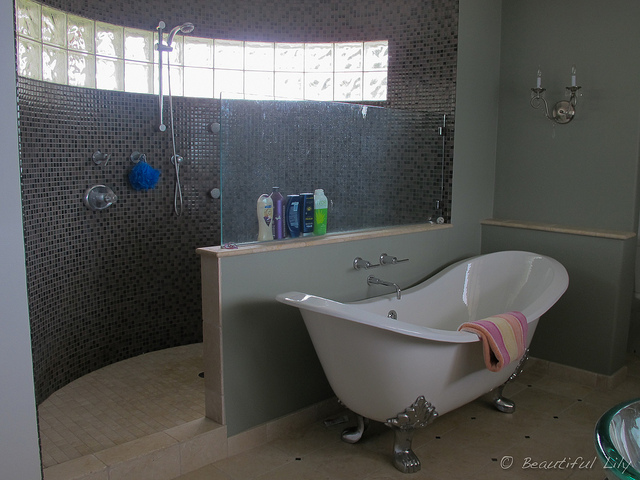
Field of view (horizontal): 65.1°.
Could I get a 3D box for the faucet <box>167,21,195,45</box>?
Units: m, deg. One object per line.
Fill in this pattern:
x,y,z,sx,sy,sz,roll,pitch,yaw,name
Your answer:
-1.199,-1.778,4.289,0.231,0.246,0.143,-18,35,-22,faucet

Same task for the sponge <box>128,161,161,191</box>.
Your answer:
-1.468,-0.532,4.185,0.244,0.246,0.130,-7,11,-22,sponge

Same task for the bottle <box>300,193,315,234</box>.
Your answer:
-0.089,-0.184,3.585,0.047,0.284,0.133,6,14,39,bottle

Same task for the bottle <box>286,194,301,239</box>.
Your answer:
-0.183,-0.160,3.524,0.056,0.290,0.141,5,13,37,bottle

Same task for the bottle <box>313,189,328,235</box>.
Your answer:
0.000,-0.199,3.643,0.139,0.323,0.041,-12,14,-41,bottle

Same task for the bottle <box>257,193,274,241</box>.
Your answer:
-0.368,-0.149,3.373,0.071,0.308,0.167,4,12,32,bottle
